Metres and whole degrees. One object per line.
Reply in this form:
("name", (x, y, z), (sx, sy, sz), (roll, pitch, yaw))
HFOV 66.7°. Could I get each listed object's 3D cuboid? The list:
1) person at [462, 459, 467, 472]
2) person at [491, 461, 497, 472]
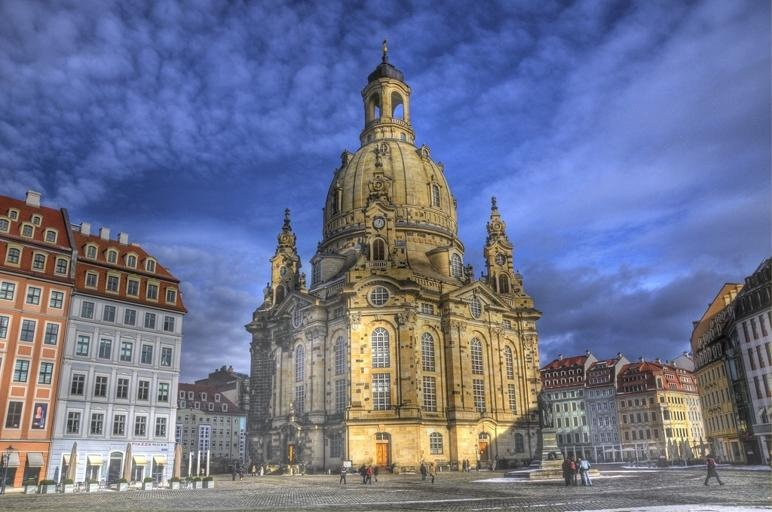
("person", (11.398, 30.491, 85.506), (0.429, 1.398, 0.785), (4, 2, 7))
("person", (16.162, 31.276, 88.104), (0.637, 1.273, 1.211), (-14, -28, 19))
